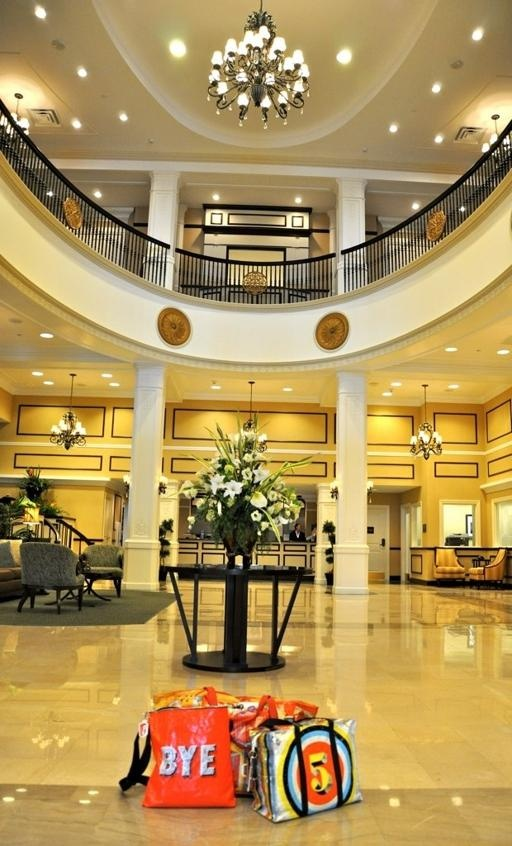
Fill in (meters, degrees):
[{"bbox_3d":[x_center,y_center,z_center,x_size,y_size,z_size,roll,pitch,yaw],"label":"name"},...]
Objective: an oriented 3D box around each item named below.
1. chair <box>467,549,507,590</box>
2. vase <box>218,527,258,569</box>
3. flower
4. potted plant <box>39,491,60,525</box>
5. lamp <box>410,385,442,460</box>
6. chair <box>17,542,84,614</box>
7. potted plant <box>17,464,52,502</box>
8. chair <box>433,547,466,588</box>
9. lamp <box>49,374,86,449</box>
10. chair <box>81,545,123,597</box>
[{"bbox_3d":[5.541,3.559,13.018,0.972,1.236,0.850,3,-9,-2],"label":"chair"},{"bbox_3d":[-0.119,0.865,3.701,0.264,0.232,0.265,-2,-19,6],"label":"vase"},{"bbox_3d":[-0.047,0.511,3.697,0.642,0.874,0.778,3,2,-16],"label":"flower"},{"bbox_3d":[-5.092,2.027,13.213,0.500,0.734,1.019,4,-10,-22],"label":"potted plant"},{"bbox_3d":[4.058,0.006,12.763,0.641,1.783,0.763,-8,10,-21],"label":"lamp"},{"bbox_3d":[-2.571,1.891,6.704,0.622,0.891,0.723,0,-3,11],"label":"chair"},{"bbox_3d":[-5.520,1.570,13.297,0.676,0.912,1.200,5,-10,-23],"label":"potted plant"},{"bbox_3d":[4.844,3.776,13.665,0.751,1.211,0.900,0,-20,4],"label":"chair"},{"bbox_3d":[-4.554,-0.162,12.999,0.670,1.765,2.509,4,-9,-19],"label":"lamp"},{"bbox_3d":[-2.482,2.363,8.519,0.713,0.897,0.783,10,-20,-35],"label":"chair"}]
